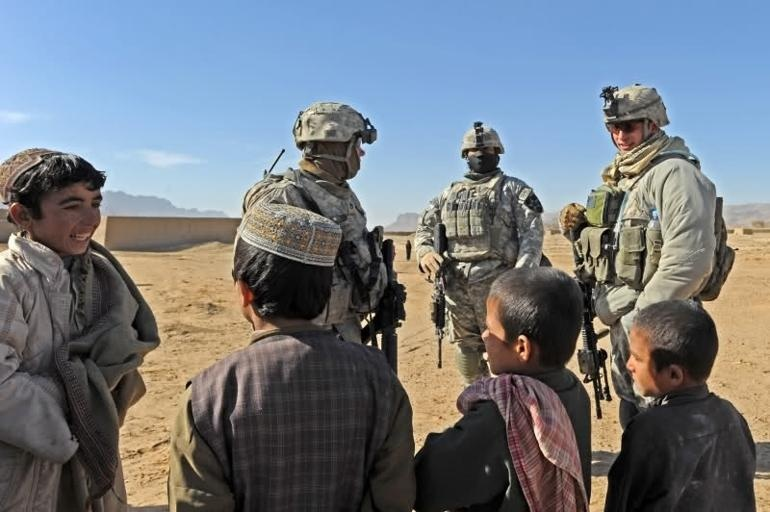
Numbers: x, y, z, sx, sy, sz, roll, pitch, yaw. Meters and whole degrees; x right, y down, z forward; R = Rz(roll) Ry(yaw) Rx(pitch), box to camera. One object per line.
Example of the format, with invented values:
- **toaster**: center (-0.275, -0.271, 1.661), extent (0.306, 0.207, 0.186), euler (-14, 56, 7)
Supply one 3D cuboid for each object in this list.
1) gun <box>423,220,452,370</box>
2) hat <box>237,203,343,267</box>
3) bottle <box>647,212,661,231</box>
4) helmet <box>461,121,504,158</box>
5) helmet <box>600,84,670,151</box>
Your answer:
- **gun**: center (0.547, 0.419, 6.972), extent (0.221, 1.494, 0.548), euler (2, 2, 7)
- **hat**: center (-0.462, -0.113, 3.375), extent (0.368, 0.186, 0.364), euler (20, 4, 3)
- **bottle**: center (2.052, -0.285, 5.239), extent (0.072, 0.147, 0.152), euler (4, 12, 0)
- **helmet**: center (0.985, -1.188, 7.058), extent (0.453, 0.293, 0.449), euler (-4, 3, 10)
- **helmet**: center (2.078, -1.154, 5.673), extent (0.553, 0.570, 0.471), euler (-12, 18, -11)
